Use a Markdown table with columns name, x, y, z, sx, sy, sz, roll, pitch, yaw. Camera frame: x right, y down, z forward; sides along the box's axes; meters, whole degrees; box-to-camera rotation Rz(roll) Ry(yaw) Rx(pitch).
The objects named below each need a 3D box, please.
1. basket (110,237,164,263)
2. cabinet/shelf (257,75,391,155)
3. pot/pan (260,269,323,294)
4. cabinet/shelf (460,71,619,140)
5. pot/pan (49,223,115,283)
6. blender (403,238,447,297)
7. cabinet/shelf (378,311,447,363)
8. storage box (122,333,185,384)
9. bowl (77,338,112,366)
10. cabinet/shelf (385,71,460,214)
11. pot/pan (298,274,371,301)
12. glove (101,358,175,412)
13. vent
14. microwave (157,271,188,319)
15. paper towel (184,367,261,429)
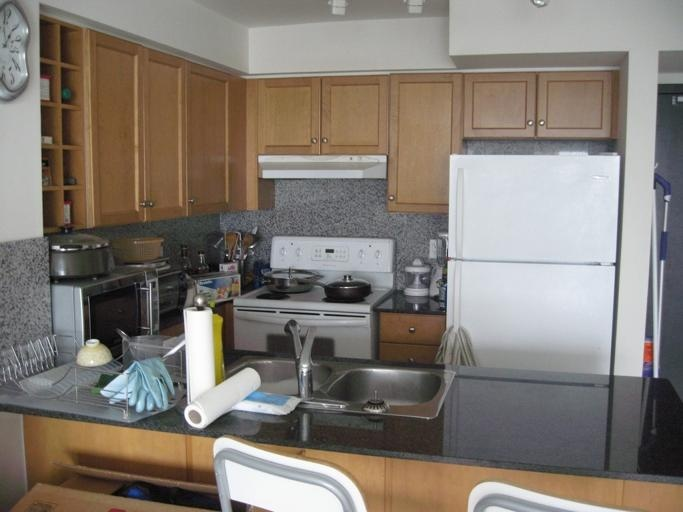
| name | x | y | z | sx | sy | sz | roll | pitch | yaw |
| --- | --- | --- | --- | --- | --- | --- | --- | --- | --- |
| basket | -1.153 | -0.034 | 3.188 | 0.255 | 0.141 | 0.124 | -4 | 13 | -21 |
| cabinet/shelf | -0.095 | -0.974 | 3.975 | 0.981 | 0.538 | 0.336 | 4 | 11 | 18 |
| pot/pan | -0.359 | 0.182 | 3.981 | 0.275 | 0.095 | 0.218 | 4 | 7 | 27 |
| cabinet/shelf | 1.223 | -0.944 | 3.662 | 0.990 | 0.423 | 0.313 | -1 | 5 | -4 |
| pot/pan | -1.223 | -0.007 | 2.665 | 0.237 | 0.143 | 0.233 | 2 | 9 | 12 |
| blender | 0.625 | 0.047 | 3.992 | 0.362 | 0.373 | 0.221 | 2 | 9 | 24 |
| cabinet/shelf | 0.463 | 0.436 | 3.712 | 0.466 | 0.422 | 0.311 | 1 | 2 | 18 |
| storage box | -0.753 | 0.406 | 2.268 | 0.272 | 0.197 | 0.179 | 0 | 5 | 5 |
| bowl | -0.951 | 0.381 | 2.161 | 0.102 | 0.113 | 0.094 | 0 | 12 | 0 |
| cabinet/shelf | 0.549 | -0.741 | 3.725 | 0.459 | 0.883 | 0.127 | 2 | 12 | 7 |
| pot/pan | -0.058 | 0.218 | 3.772 | 0.441 | 0.122 | 0.197 | 0 | 1 | 9 |
| glove | -0.724 | 0.445 | 2.039 | 0.217 | 0.109 | 0.173 | 1 | 7 | 44 |
| vent | -0.141 | -0.619 | 3.914 | 0.920 | 0.162 | 0.098 | 2 | 12 | 10 |
| microwave | -0.987 | 0.221 | 3.274 | 0.157 | 0.189 | 0.265 | 5 | 12 | 17 |
| paper towel | -0.402 | 0.479 | 1.949 | 0.098 | 0.095 | 0.321 | -9 | 7 | 27 |
